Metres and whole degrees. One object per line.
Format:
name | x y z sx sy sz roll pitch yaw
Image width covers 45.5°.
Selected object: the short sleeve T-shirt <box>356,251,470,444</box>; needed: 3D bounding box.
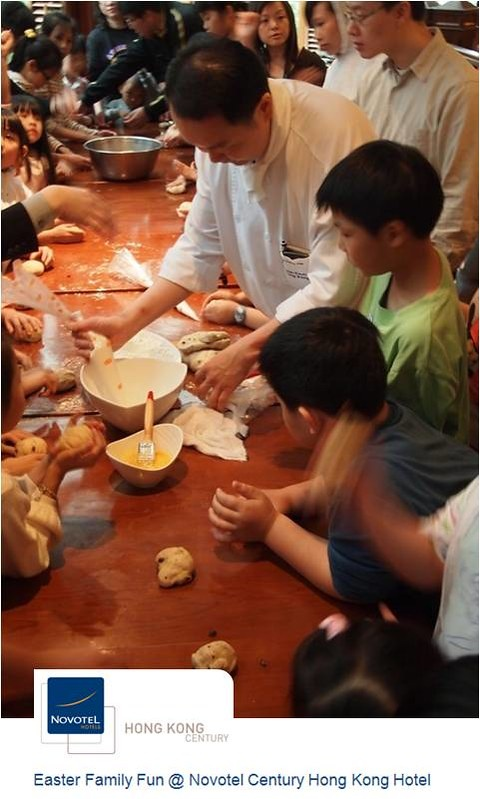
short sleeve T-shirt | 0.328 -0.093 1.079 0.150 0.290 0.274 -11 58 15
